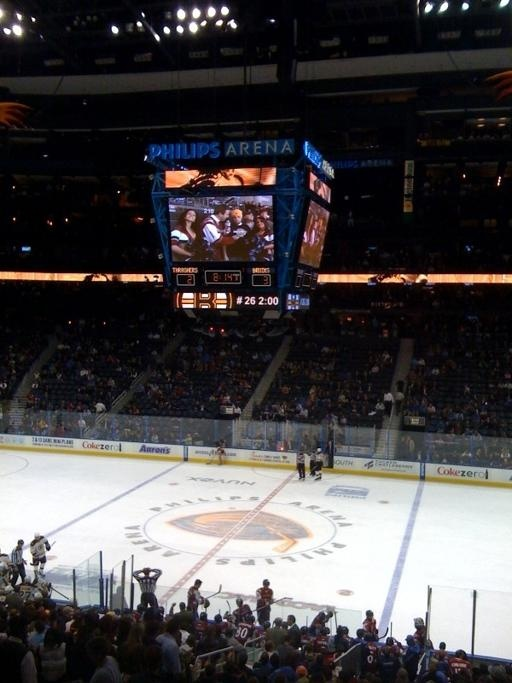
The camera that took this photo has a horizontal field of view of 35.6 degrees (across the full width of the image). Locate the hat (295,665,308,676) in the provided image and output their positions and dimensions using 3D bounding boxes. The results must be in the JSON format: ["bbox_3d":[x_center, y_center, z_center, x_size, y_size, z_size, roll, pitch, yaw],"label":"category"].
[{"bbox_3d":[0.514,3.680,8.900,0.078,0.078,0.123,0,-8,-1],"label":"hat"}]

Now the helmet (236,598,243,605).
[{"bbox_3d":[-0.251,3.940,12.079,0.089,0.112,0.108,-4,37,5],"label":"helmet"}]

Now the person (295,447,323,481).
[{"bbox_3d":[1.770,4.016,26.011,0.985,1.159,0.425,0,-8,4],"label":"person"}]

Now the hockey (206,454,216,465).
[{"bbox_3d":[-1.550,4.164,28.057,0.360,0.317,0.082,21,-2,14],"label":"hockey"}]

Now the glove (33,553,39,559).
[{"bbox_3d":[-4.349,4.241,15.715,0.116,0.082,0.115,-3,8,-31],"label":"glove"}]
